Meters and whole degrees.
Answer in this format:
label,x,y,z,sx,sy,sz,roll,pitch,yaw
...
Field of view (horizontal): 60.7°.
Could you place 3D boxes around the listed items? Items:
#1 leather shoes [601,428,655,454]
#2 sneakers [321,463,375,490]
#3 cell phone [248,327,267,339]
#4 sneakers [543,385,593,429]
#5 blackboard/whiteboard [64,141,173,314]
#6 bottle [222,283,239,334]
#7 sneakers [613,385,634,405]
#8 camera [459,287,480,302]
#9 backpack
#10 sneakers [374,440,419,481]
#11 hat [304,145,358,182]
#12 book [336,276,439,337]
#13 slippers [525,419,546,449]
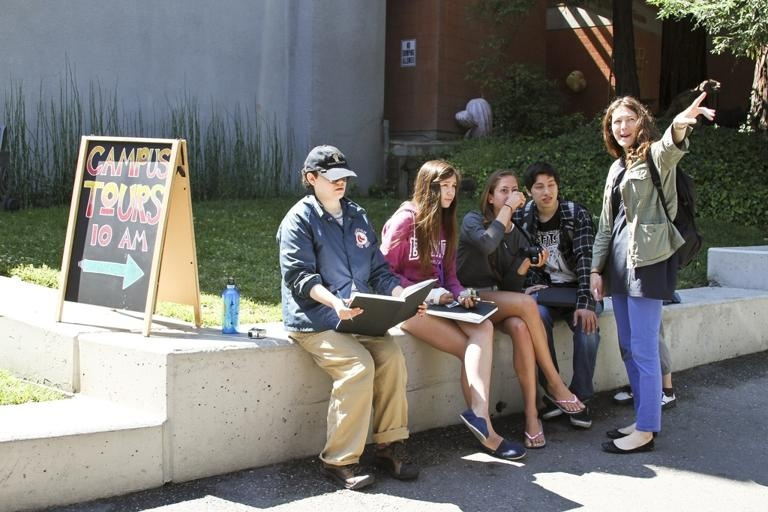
label,x,y,z,sx,sy,sz,roll,pitch,yaw
leather shoes,1.944,1.521,5.228,0.283,0.118,0.225,3,0,4
sneakers,-0.255,1.554,4.751,0.328,0.169,0.160,5,2,34
cell phone,-0.976,0.600,5.022,0.122,0.052,0.119,-3,17,-20
sneakers,1.565,1.322,5.652,0.209,0.250,0.578,-14,14,-32
blackboard/whiteboard,-2.143,-0.274,5.227,0.900,1.286,0.484,8,15,20
bottle,-1.206,0.386,5.130,0.132,0.444,0.224,-2,15,-14
sneakers,2.276,1.314,6.181,0.158,0.122,0.285,2,-2,30
camera,0.695,0.324,5.356,0.139,0.103,0.090,3,-8,2
backpack,2.280,-0.333,5.127,0.478,0.923,0.315,-6,16,-30
sneakers,0.098,1.515,4.964,0.398,0.275,0.176,15,18,34
hat,-0.430,-0.732,5.096,0.347,0.250,0.489,-10,15,-30
book,0.004,0.425,4.784,0.699,0.492,0.365,0,15,-9
slippers,1.228,1.430,5.281,0.176,0.204,0.175,4,15,7
